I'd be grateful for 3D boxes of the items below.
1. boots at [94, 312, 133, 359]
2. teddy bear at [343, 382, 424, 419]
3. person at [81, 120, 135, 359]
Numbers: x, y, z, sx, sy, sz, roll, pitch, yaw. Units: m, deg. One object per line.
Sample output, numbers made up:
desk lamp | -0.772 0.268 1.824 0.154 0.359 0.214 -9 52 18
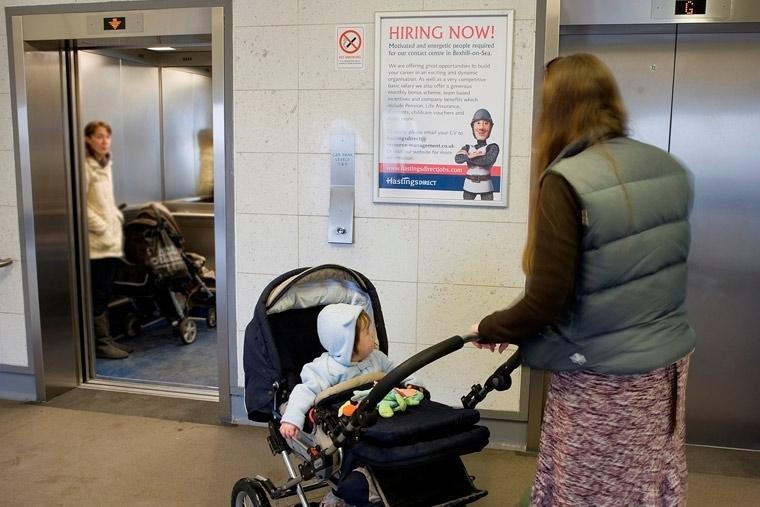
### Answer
boots | -2.409 0.786 6.048 0.460 0.490 0.252 1 2 -10
teddy bear | 0.030 0.775 3.426 0.289 0.086 0.233 -6 4 -30
person | -2.512 -0.121 6.000 0.312 2.177 0.616 -4 9 -23
